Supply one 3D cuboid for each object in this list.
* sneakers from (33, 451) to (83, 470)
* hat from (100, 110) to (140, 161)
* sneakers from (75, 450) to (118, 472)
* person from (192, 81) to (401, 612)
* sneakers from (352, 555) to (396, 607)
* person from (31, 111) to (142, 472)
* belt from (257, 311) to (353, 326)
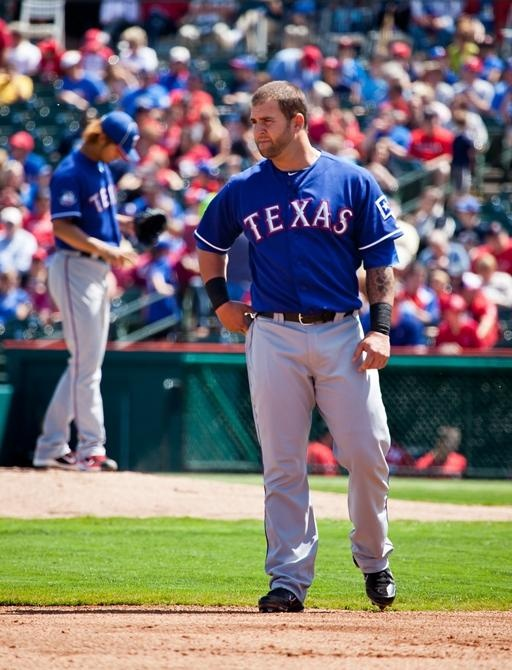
[{"bbox_3d":[-1.053,0.638,5.741,0.332,0.116,0.103,2,-7,-5],"label":"sneakers"},{"bbox_3d":[-0.666,-0.985,5.583,0.244,0.228,0.187,4,6,-24],"label":"hat"},{"bbox_3d":[-0.815,0.629,5.589,0.261,0.093,0.083,5,-8,-10],"label":"sneakers"},{"bbox_3d":[0.173,0.036,4.348,0.847,1.992,0.464,13,8,43],"label":"person"},{"bbox_3d":[0.462,0.975,4.335,0.101,0.243,0.117,-20,-28,3],"label":"sneakers"},{"bbox_3d":[-0.842,-0.197,5.609,0.485,1.832,0.397,7,6,-8],"label":"person"},{"bbox_3d":[0.173,-0.071,4.251,0.354,0.062,0.095,6,5,3],"label":"belt"}]
